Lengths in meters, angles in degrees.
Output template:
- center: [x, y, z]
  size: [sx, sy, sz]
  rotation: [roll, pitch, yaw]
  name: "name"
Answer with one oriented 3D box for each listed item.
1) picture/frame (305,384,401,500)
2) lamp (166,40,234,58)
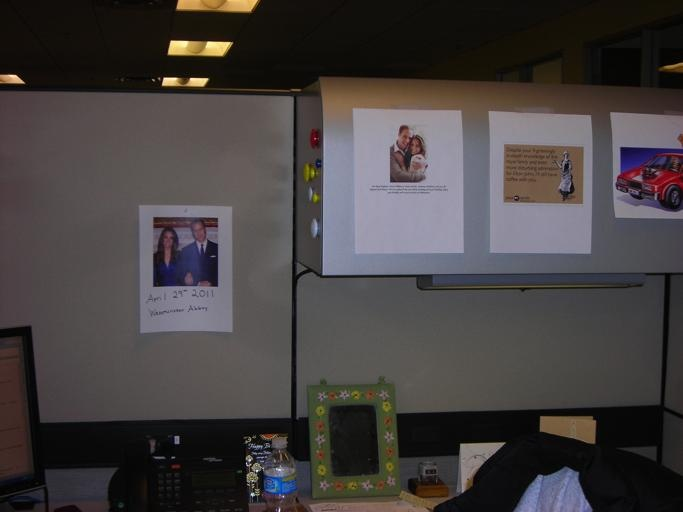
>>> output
- center: [0.036, 0.597, 1.911]
  size: [0.310, 0.429, 0.046]
  rotation: [0, -17, -8]
  name: "picture/frame"
- center: [-0.500, -0.739, 2.132]
  size: [0.223, 0.069, 0.037]
  rotation: [-2, 3, -13]
  name: "lamp"
